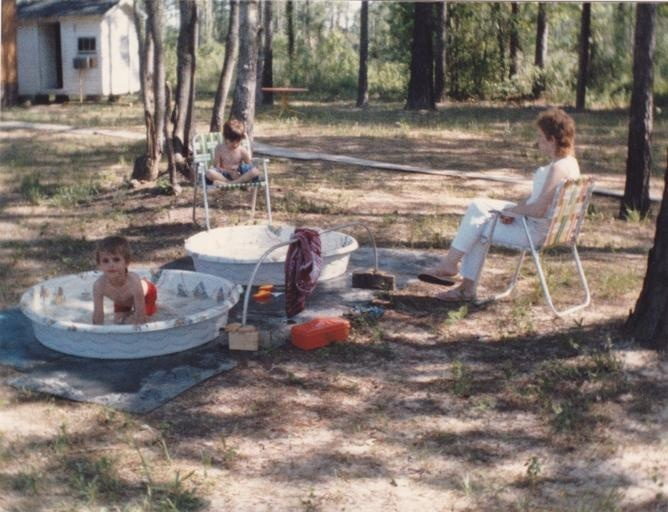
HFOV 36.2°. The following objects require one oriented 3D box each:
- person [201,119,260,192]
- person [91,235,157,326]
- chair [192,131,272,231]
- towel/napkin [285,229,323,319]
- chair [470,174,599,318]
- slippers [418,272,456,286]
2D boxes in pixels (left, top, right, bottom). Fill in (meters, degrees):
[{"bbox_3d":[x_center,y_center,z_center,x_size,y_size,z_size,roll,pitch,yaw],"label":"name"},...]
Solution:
[{"bbox_3d":[-1.396,-1.314,13.884,0.858,1.247,0.772,-5,11,-24],"label":"person"},{"bbox_3d":[-2.332,0.304,11.263,0.467,0.985,0.710,10,30,11],"label":"person"},{"bbox_3d":[-1.468,-1.191,14.364,1.139,1.806,1.261,-3,-8,-4],"label":"chair"},{"bbox_3d":[-0.338,0.202,11.089,0.411,0.977,0.371,-2,13,-11],"label":"towel/napkin"},{"bbox_3d":[2.301,-0.165,11.635,1.169,1.685,1.273,4,12,14],"label":"chair"},{"bbox_3d":[1.159,0.278,11.626,0.420,0.207,0.171,7,-5,-7],"label":"slippers"}]
